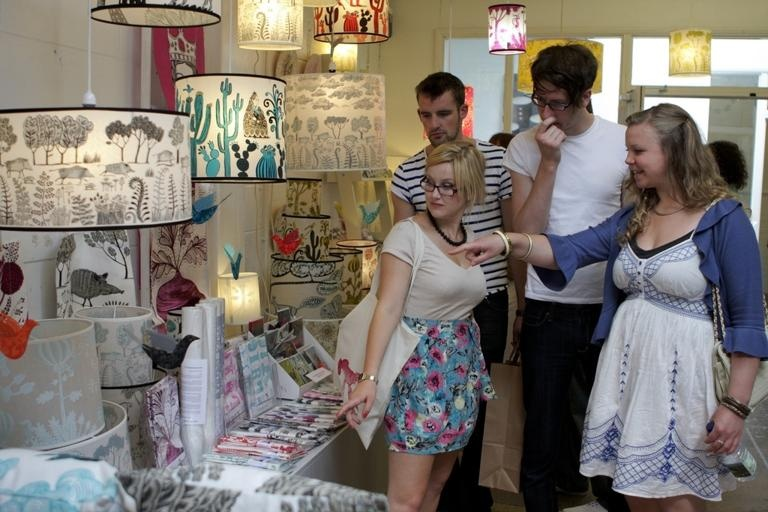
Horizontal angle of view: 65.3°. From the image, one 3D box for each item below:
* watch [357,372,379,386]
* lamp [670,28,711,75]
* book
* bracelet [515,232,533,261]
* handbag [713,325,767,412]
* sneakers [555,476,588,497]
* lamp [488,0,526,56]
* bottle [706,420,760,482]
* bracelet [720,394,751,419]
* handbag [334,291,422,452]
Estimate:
[{"bbox_3d":[-0.067,0.468,2.319,0.061,0.041,0.065,1,-15,26],"label":"watch"},{"bbox_3d":[3.443,-2.293,6.952,0.452,0.551,0.472,0,0,-14],"label":"lamp"},{"bbox_3d":[-0.488,0.489,3.199,0.343,0.383,0.473,-1,9,14],"label":"book"},{"bbox_3d":[0.585,-0.042,2.502,0.021,0.085,0.081,4,-7,-8],"label":"bracelet"},{"bbox_3d":[1.292,0.422,2.196,0.182,0.257,0.088,9,-4,-3],"label":"handbag"},{"bbox_3d":[1.151,1.426,3.686,0.167,0.182,0.110,3,-3,10],"label":"sneakers"},{"bbox_3d":[1.149,-2.140,5.703,0.403,0.492,0.434,2,8,9],"label":"lamp"},{"bbox_3d":[1.328,0.777,2.252,0.196,0.145,0.075,-6,8,-36],"label":"bottle"},{"bbox_3d":[1.248,0.540,2.129,0.085,0.038,0.084,33,4,-40],"label":"bracelet"},{"bbox_3d":[-0.020,0.477,2.443,0.216,0.544,0.591,14,26,-17],"label":"handbag"}]
